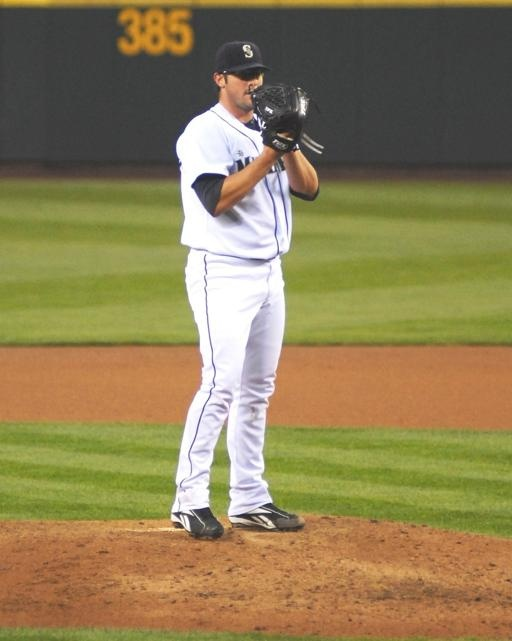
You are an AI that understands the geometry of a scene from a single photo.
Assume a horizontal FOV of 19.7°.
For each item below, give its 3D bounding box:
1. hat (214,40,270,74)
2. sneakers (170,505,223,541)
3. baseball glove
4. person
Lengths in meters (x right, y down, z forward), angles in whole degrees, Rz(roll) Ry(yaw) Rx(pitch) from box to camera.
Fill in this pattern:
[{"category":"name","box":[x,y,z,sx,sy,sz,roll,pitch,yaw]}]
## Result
[{"category":"hat","box":[-0.109,-1.378,7.771,0.170,0.128,0.218,-5,5,-42]},{"category":"sneakers","box":[-0.314,1.064,7.773,0.133,0.114,0.255,-4,6,-40]},{"category":"baseball glove","box":[0.121,-1.045,7.612,0.257,0.364,0.136,6,-9,-20]},{"category":"person","box":[-0.086,-0.159,7.818,0.755,2.608,0.511,3,5,-11]}]
